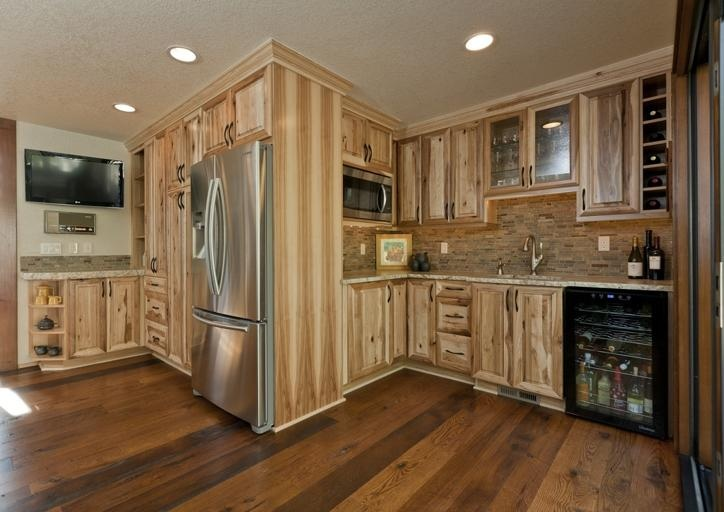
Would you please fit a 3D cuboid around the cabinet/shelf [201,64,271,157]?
[{"bbox_3d":[-1.052,-1.259,4.272,0.116,0.446,0.860,-1,-3,-42],"label":"cabinet/shelf"}]

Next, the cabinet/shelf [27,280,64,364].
[{"bbox_3d":[-3.353,0.645,5.310,0.340,0.917,0.300,0,-3,-24],"label":"cabinet/shelf"}]

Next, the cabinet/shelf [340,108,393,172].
[{"bbox_3d":[-0.052,-1.131,5.108,0.299,0.495,0.895,-1,0,36],"label":"cabinet/shelf"}]

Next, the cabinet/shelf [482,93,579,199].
[{"bbox_3d":[1.632,-0.960,4.759,0.883,0.816,0.316,-1,2,36],"label":"cabinet/shelf"}]

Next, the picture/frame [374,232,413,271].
[{"bbox_3d":[0.363,-0.049,5.572,0.435,0.425,0.029,0,-3,-5],"label":"picture/frame"}]

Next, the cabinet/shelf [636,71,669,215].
[{"bbox_3d":[2.455,-0.936,4.177,0.210,1.128,0.238,-1,2,30],"label":"cabinet/shelf"}]

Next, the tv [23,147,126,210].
[{"bbox_3d":[-3.279,-0.874,5.608,0.821,0.492,0.083,1,-1,-41],"label":"tv"}]

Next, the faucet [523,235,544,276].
[{"bbox_3d":[1.656,-0.017,4.818,0.191,0.374,0.183,-2,1,23],"label":"faucet"}]

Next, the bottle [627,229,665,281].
[{"bbox_3d":[2.436,-0.015,4.274,0.275,0.415,0.191,-1,1,31],"label":"bottle"}]

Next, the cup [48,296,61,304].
[{"bbox_3d":[-3.238,0.453,5.257,0.074,0.066,0.091,-3,-7,10],"label":"cup"}]

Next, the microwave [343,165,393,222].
[{"bbox_3d":[0.134,-0.630,5.158,0.339,0.513,0.860,-10,19,-39],"label":"microwave"}]

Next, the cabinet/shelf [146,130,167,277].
[{"bbox_3d":[-2.244,-0.530,5.430,0.149,1.212,0.570,-3,2,-35],"label":"cabinet/shelf"}]

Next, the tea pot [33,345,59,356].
[{"bbox_3d":[-3.307,0.965,5.250,0.204,0.071,0.129,0,0,13],"label":"tea pot"}]

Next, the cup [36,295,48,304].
[{"bbox_3d":[-3.349,0.449,5.223,0.076,0.069,0.075,-2,-9,0],"label":"cup"}]

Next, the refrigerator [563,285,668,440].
[{"bbox_3d":[2.222,0.834,4.317,0.814,1.119,0.609,0,0,40],"label":"refrigerator"}]
